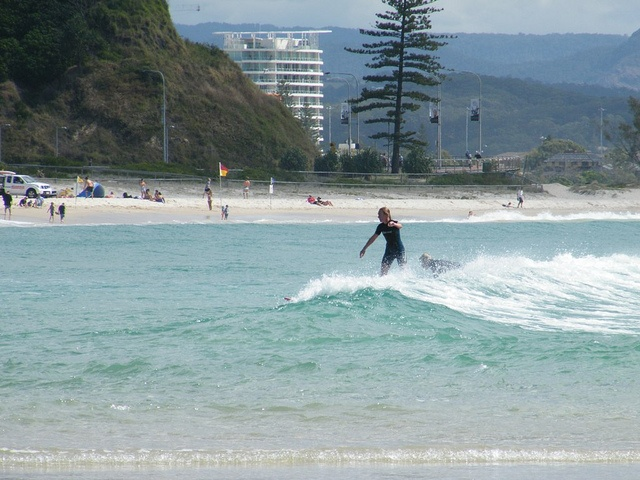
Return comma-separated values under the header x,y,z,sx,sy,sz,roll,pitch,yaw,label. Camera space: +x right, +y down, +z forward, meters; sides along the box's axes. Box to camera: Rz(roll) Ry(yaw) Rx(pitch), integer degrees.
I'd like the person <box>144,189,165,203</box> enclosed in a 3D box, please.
x,y,z,sx,sy,sz,roll,pitch,yaw,label
-12.962,-3.398,99.616,1.904,1.024,0.874,11,7,33,person

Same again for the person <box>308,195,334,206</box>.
x,y,z,sx,sy,sz,roll,pitch,yaw,label
0.061,-3.130,102.205,1.446,0.448,0.987,8,-3,-42,person

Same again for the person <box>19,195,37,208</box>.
x,y,z,sx,sy,sz,roll,pitch,yaw,label
-21.542,-2.715,94.432,1.250,0.650,1.609,0,1,-13,person

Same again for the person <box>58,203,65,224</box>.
x,y,z,sx,sy,sz,roll,pitch,yaw,label
-18.396,-1.842,90.893,0.445,1.281,1.232,0,2,-10,person
